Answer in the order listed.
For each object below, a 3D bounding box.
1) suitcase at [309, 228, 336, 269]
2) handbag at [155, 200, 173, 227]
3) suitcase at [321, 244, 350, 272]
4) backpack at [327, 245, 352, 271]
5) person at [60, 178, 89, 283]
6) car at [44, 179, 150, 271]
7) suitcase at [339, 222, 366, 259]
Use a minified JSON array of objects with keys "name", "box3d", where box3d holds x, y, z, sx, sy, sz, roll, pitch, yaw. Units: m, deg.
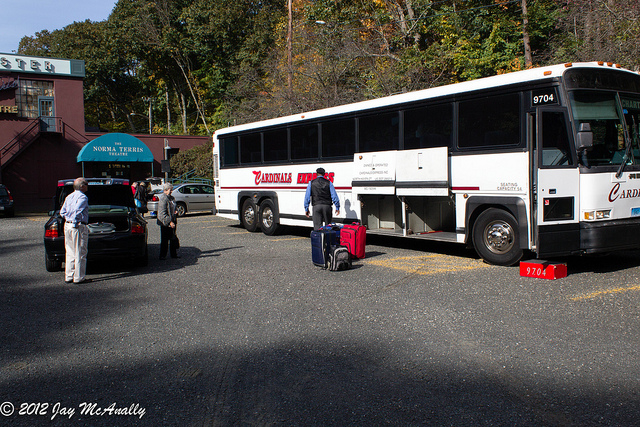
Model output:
[{"name":"suitcase","box3d":[0.052,0.829,12.836,0.517,0.801,0.531,-5,11,-10]},{"name":"handbag","box3d":[-4.319,-0.003,14.582,0.471,0.632,0.619,0,-4,-36]},{"name":"suitcase","box3d":[0.377,1.107,12.761,0.451,0.635,0.606,3,-4,-32]},{"name":"backpack","box3d":[0.465,1.128,12.719,0.768,0.822,0.442,3,-8,-35]},{"name":"person","box3d":[-5.572,0.408,11.876,0.596,2.352,0.514,-5,9,-27]},{"name":"car","box3d":[-5.601,0.073,13.556,1.650,1.574,3.037,-1,9,-15]},{"name":"suitcase","box3d":[0.820,0.700,13.077,0.566,1.137,0.733,-6,8,-38]}]
